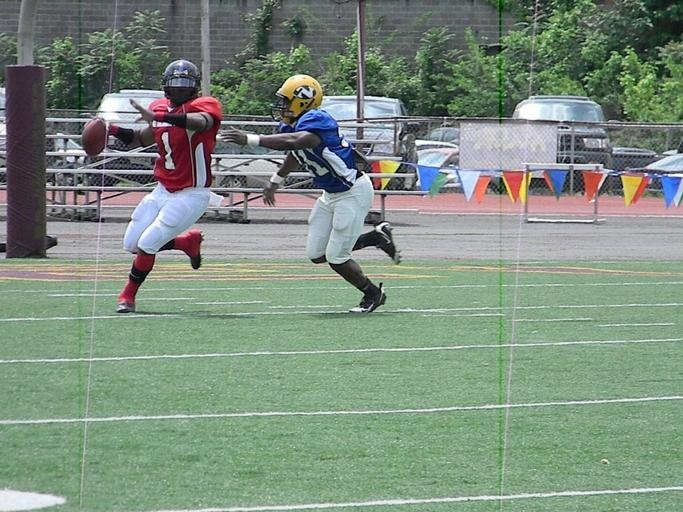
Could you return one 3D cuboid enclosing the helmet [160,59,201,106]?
[{"bbox_3d":[-1.438,-1.506,10.878,0.322,0.381,0.274,-1,16,-6],"label":"helmet"}]

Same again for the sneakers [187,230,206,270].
[{"bbox_3d":[-1.411,-0.056,11.833,0.268,0.378,0.170,1,23,4],"label":"sneakers"}]

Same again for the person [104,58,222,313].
[{"bbox_3d":[-1.587,-0.599,10.985,0.976,2.218,1.242,0,16,-4],"label":"person"}]

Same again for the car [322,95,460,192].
[{"bbox_3d":[0.482,-2.045,21.174,1.945,1.165,3.245,1,1,10],"label":"car"}]

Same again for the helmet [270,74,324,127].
[{"bbox_3d":[-0.443,-1.404,11.082,0.710,0.375,0.427,-1,9,-4],"label":"helmet"}]

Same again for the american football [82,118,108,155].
[{"bbox_3d":[-2.113,-1.013,10.523,0.109,0.262,0.275,9,-3,38],"label":"american football"}]

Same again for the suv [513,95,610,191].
[{"bbox_3d":[4.374,-2.134,24.489,1.837,1.844,2.492,4,14,10],"label":"suv"}]

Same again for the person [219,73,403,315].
[{"bbox_3d":[-0.172,-0.514,10.942,1.197,2.110,1.241,2,16,4],"label":"person"}]
